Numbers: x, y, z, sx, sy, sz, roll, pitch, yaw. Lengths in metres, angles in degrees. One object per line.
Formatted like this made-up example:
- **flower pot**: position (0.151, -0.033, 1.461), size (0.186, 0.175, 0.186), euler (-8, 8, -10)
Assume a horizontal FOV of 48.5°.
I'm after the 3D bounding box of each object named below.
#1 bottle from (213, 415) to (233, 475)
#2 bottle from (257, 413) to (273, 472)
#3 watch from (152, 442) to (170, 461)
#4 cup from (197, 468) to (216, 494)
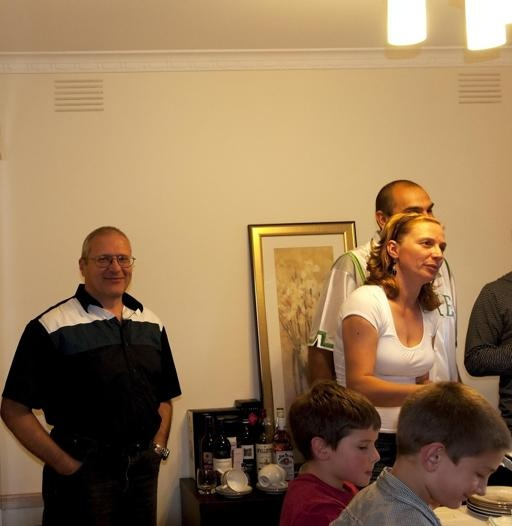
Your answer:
- **bottle**: position (-0.170, 0.878, 2.734), size (0.085, 0.250, 0.146), euler (-5, -4, 3)
- **bottle**: position (0.041, 0.898, 2.831), size (0.096, 0.257, 0.257), euler (-5, -5, 1)
- **watch**: position (-0.383, 0.777, 2.336), size (0.073, 0.052, 0.076), euler (13, -25, 18)
- **cup**: position (-0.232, 1.012, 2.635), size (0.091, 0.112, 0.098), euler (0, -4, 0)
